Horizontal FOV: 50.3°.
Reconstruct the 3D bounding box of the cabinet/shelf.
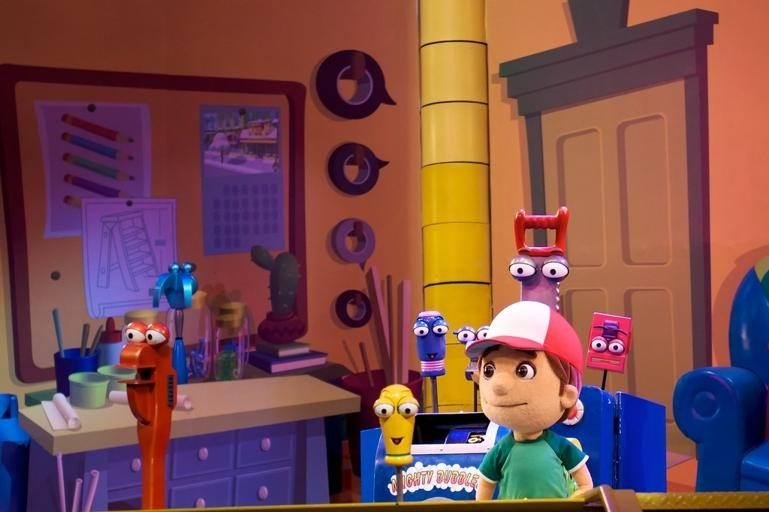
[{"bbox_3d":[-0.923,0.915,3.377,1.107,0.305,0.248,-4,-1,-1],"label":"cabinet/shelf"}]
